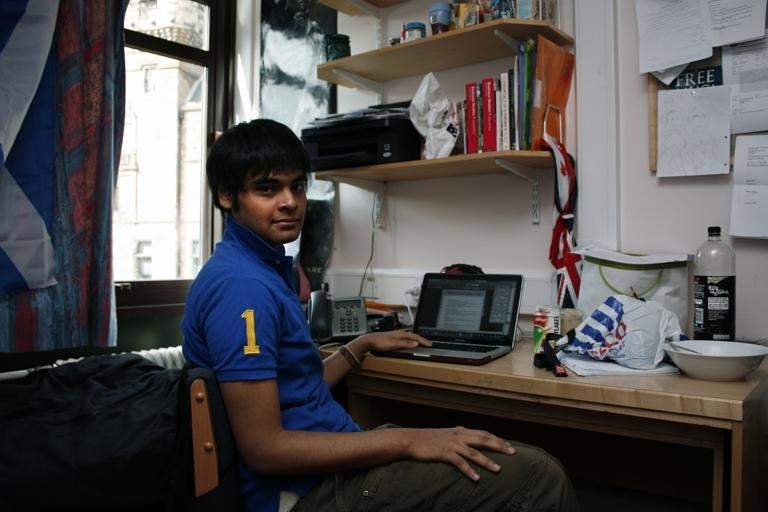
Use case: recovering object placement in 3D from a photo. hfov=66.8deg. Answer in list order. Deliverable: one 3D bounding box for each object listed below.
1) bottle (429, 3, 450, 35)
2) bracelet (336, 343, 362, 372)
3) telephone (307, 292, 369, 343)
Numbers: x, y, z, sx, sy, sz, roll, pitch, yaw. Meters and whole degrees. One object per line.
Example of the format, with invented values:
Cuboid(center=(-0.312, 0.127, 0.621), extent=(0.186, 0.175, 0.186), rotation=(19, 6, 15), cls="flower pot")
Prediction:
Cuboid(center=(0.253, -1.053, 2.594), extent=(0.095, 0.148, 0.094), rotation=(0, 3, 0), cls="bottle")
Cuboid(center=(-0.124, 0.376, 2.167), extent=(0.031, 0.080, 0.073), rotation=(-41, 10, -16), cls="bracelet")
Cuboid(center=(-0.199, 0.264, 2.490), extent=(0.222, 0.226, 0.087), rotation=(-4, -20, -8), cls="telephone")
